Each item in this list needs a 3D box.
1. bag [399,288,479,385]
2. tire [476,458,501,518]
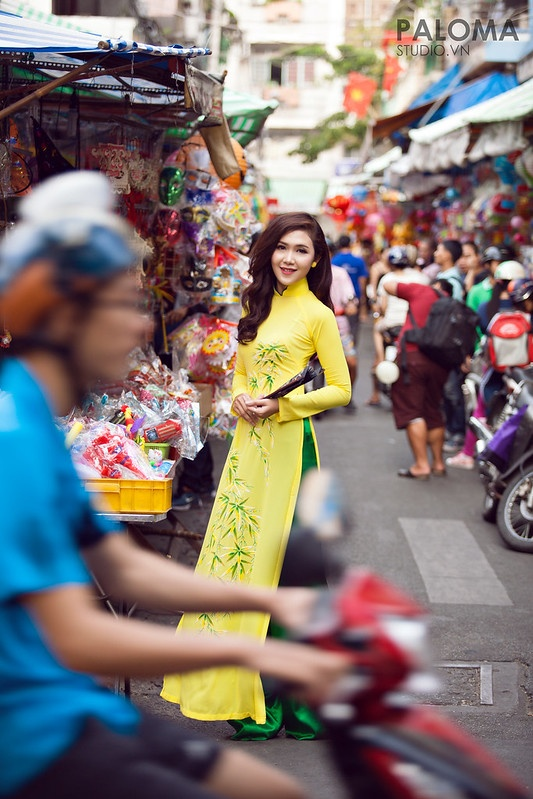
[{"bbox_3d":[1.780,-0.784,7.862,0.662,0.876,0.909,5,-5,-43],"label":"bag"},{"bbox_3d":[1.853,0.738,6.064,0.133,0.570,0.206,0,17,-5],"label":"tire"}]
